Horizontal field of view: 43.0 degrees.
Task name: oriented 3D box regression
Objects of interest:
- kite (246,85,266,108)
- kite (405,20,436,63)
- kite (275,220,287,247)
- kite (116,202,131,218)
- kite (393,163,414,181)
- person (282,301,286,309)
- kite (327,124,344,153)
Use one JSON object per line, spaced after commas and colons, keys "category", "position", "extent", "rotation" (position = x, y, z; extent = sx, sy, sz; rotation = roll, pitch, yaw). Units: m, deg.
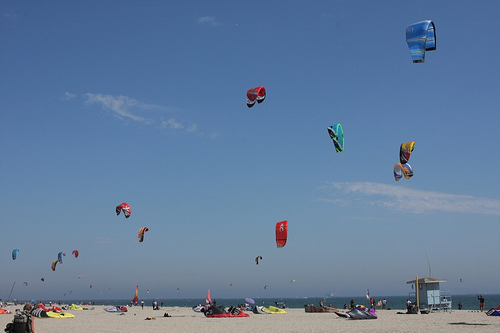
{"category": "kite", "position": [0.364, -5.005, 46.632], "extent": [1.201, 1.905, 1.740], "rotation": [-1, -11, 4]}
{"category": "kite", "position": [11.616, -8.561, 42.545], "extent": [1.516, 2.530, 1.953], "rotation": [3, 21, 40]}
{"category": "kite", "position": [2.465, 5.342, 49.761], "extent": [0.793, 2.052, 2.003], "rotation": [-1, -11, 1]}
{"category": "kite", "position": [-12.111, 4.270, 60.117], "extent": [1.307, 1.279, 0.483], "rotation": [-9, -13, 35]}
{"category": "kite", "position": [11.057, 0.423, 45.587], "extent": [0.815, 1.249, 1.157], "rotation": [-5, 9, 2]}
{"category": "person", "position": [3.579, 15.041, 67.862], "extent": [0.417, 0.227, 0.766], "rotation": [3, 16, 4]}
{"category": "kite", "position": [6.110, -2.172, 44.989], "extent": [0.972, 1.844, 3.448], "rotation": [-3, -12, 10]}
